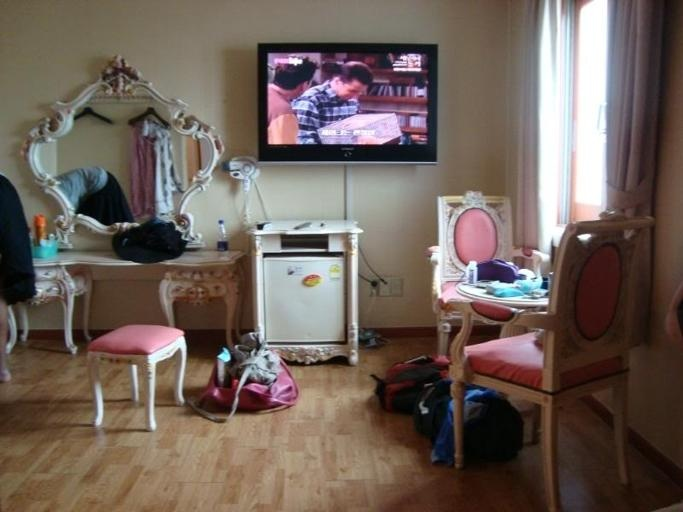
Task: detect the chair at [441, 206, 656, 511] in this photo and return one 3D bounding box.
[{"bbox_3d":[1.006,0.473,2.798,0.948,1.296,0.462,-6,13,-5],"label":"chair"}]

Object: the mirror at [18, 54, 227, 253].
[{"bbox_3d":[-1.665,-0.826,4.518,1.478,1.382,0.172,0,8,-6],"label":"mirror"}]

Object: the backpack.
[{"bbox_3d":[0.579,0.850,3.359,0.424,0.244,0.661,0,4,-13],"label":"backpack"}]

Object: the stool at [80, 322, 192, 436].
[{"bbox_3d":[-1.198,0.686,3.528,0.564,0.520,0.534,-4,11,-19],"label":"stool"}]

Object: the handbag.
[{"bbox_3d":[-0.553,0.792,3.624,0.399,0.146,0.298,1,17,-2],"label":"handbag"}]

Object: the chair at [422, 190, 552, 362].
[{"bbox_3d":[0.939,0.109,4.016,0.750,1.047,0.681,0,9,11],"label":"chair"}]

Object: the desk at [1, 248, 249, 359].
[{"bbox_3d":[-1.618,0.362,4.465,1.602,0.727,0.572,1,6,-8],"label":"desk"}]

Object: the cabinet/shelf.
[{"bbox_3d":[-0.230,0.255,4.547,0.934,1.105,0.919,0,6,1],"label":"cabinet/shelf"}]
